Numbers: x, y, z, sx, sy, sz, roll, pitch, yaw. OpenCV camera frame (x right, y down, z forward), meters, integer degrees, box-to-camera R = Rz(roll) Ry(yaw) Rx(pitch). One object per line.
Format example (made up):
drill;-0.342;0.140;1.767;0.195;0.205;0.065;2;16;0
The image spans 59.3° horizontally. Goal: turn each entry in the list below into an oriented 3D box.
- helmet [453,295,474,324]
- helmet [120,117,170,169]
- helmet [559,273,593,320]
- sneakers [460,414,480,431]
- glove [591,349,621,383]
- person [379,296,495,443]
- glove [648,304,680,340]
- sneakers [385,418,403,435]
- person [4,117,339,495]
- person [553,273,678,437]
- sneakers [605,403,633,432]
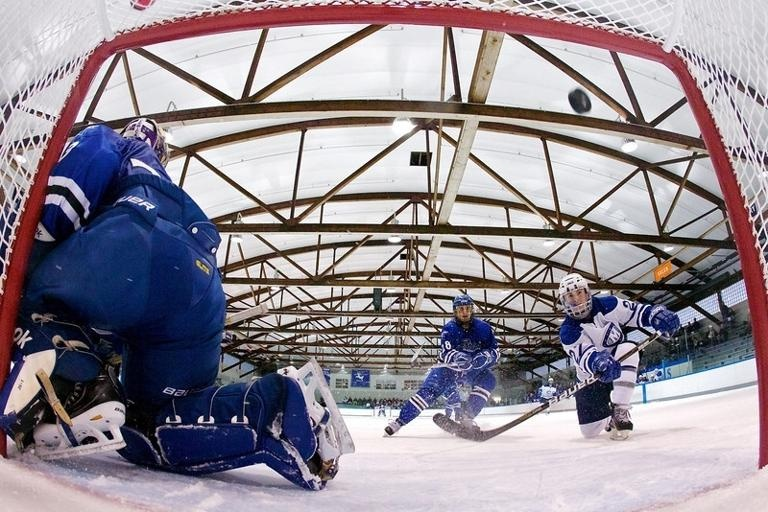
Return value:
helmet;0.915;0.620;8.006;0.256;0.316;0.329;1;-34;-3
helmet;-1.538;-0.658;4.338;0.338;0.342;0.286;3;-34;-19
helmet;1.829;0.371;6.456;0.313;0.409;0.436;-20;1;19
sneakers;0.925;1.774;7.257;0.141;0.062;0.221;2;10;-37
glove;1.892;0.947;5.956;0.099;0.188;0.254;-46;5;10
person;0.682;1.300;7.958;1.280;1.701;1.008;3;-10;0
glove;2.436;0.576;5.885;0.197;0.281;0.300;2;-2;3
sneakers;0.099;1.870;7.366;0.165;0.169;0.323;2;-2;9
person;-1.215;0.243;3.705;1.447;1.515;0.523;3;-2;-18
person;2.026;0.948;6.128;0.765;1.539;1.145;3;-2;-11
sneakers;1.981;1.376;5.694;0.158;0.212;0.470;7;-23;13
